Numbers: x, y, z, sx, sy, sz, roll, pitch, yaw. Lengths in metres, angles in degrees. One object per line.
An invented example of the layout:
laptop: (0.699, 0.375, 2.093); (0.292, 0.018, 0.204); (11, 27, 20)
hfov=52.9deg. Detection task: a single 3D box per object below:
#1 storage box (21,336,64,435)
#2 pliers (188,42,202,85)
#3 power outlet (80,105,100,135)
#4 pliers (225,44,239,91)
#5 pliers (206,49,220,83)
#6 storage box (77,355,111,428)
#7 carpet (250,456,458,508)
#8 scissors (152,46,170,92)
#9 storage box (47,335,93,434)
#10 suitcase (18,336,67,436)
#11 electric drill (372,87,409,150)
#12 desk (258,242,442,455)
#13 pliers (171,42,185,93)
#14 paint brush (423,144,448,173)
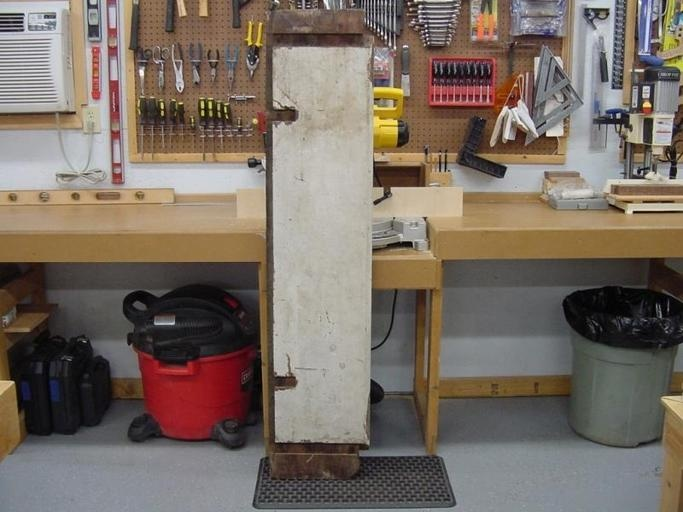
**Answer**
storage box: (-1.541, 0.699, 3.567); (0.188, 0.518, 0.461); (0, 2, -11)
pliers: (-0.785, -1.030, 3.734); (0.068, 0.219, 0.051); (-4, 15, -11)
power outlet: (-1.378, -0.744, 3.796); (0.092, 0.144, 0.038); (2, 15, 9)
pliers: (-0.587, -1.004, 3.732); (0.077, 0.247, 0.048); (-3, 15, -9)
pliers: (-0.690, -1.022, 3.736); (0.067, 0.174, 0.045); (-3, 15, -7)
storage box: (-1.320, 0.732, 3.661); (0.102, 0.285, 0.314); (-1, 12, -5)
carpet: (0.053, 1.057, 3.197); (0.904, 0.080, 0.317); (-2, 17, -3)
scissors: (-0.995, -1.060, 3.782); (0.081, 0.019, 0.233); (13, -23, -19)
storage box: (-1.436, 0.731, 3.759); (0.139, 0.423, 0.418); (4, 2, 3)
suitcase: (-1.542, 0.694, 3.604); (0.128, 0.410, 0.228); (-1, 14, -14)
electric drill: (0.191, -0.641, 3.237); (0.258, 0.289, 0.186); (2, 11, 4)
desk: (0.161, 0.316, 3.653); (1.039, 1.301, 0.896); (0, 15, 0)
pliers: (-0.883, -1.005, 3.737); (0.065, 0.254, 0.051); (-2, 15, -5)
paint brush: (0.534, -0.521, 3.746); (0.146, 0.155, 0.038); (1, 5, -2)
